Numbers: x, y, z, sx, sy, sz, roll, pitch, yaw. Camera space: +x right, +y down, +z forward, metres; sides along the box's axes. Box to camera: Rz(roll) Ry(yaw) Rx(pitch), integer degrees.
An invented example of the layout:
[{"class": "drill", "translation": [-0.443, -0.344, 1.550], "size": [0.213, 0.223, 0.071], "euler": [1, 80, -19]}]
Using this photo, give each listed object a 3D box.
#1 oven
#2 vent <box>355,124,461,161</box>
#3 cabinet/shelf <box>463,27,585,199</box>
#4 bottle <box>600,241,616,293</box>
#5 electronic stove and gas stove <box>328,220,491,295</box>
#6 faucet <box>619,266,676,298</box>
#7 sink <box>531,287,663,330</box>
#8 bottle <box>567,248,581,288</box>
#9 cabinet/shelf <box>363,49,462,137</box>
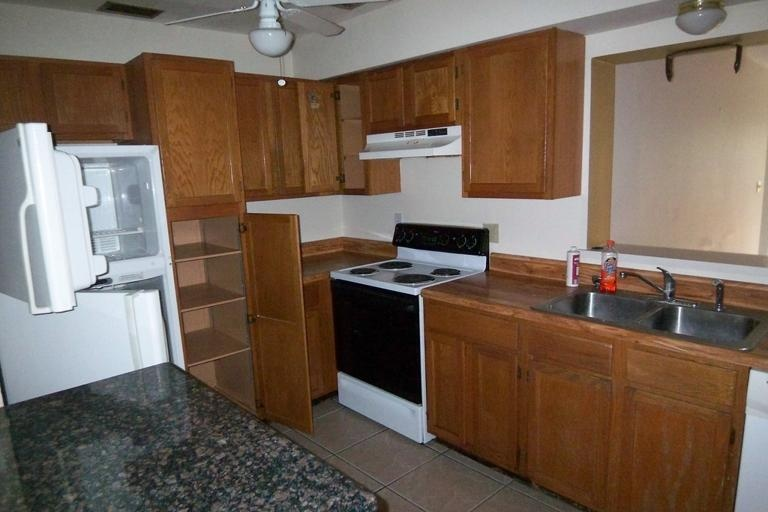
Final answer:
[{"class": "oven", "translation": [0.209, 0.663, 4.134], "size": [0.770, 1.050, 0.939], "euler": [-9, 12, -41]}, {"class": "vent", "translation": [0.211, -0.785, 3.789], "size": [0.622, 0.239, 0.147], "euler": [1, 17, 36]}, {"class": "cabinet/shelf", "translation": [0.836, -0.871, 3.431], "size": [0.795, 0.992, 0.364], "euler": [2, 14, 17]}, {"class": "bottle", "translation": [1.367, 0.049, 3.318], "size": [0.100, 0.312, 0.168], "euler": [3, 14, 21]}, {"class": "electronic stove and gas stove", "translation": [0.191, -0.017, 4.012], "size": [0.740, 0.373, 0.922], "euler": [-13, 17, -43]}, {"class": "faucet", "translation": [1.539, 0.140, 3.196], "size": [0.310, 0.171, 0.295], "euler": [4, 14, 25]}, {"class": "sink", "translation": [1.210, 0.308, 3.176], "size": [0.377, 0.211, 0.306], "euler": [-10, 14, -38]}, {"class": "bottle", "translation": [1.204, 0.066, 3.477], "size": [0.084, 0.239, 0.131], "euler": [2, 14, 17]}, {"class": "cabinet/shelf", "translation": [0.168, -1.146, 3.870], "size": [0.183, 0.488, 0.864], "euler": [-13, 17, -38]}]
